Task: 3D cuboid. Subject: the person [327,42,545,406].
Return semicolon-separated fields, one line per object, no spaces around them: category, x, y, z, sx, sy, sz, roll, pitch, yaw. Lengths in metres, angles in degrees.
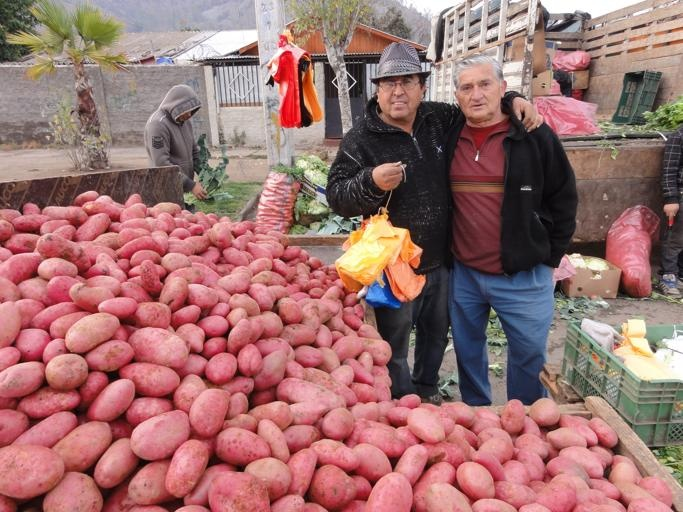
person;0.668;-0.074;3.499;1.418;2.799;0.983;-13;15;-18

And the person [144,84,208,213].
person;-2.095;-1.517;5.996;0.703;1.805;0.710;3;14;-12

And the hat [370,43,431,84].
hat;0.389;-1.282;3.140;0.387;0.251;0.284;0;20;4

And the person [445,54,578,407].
person;1.063;-0.181;3.734;1.083;2.750;0.937;-2;19;0

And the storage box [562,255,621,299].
storage box;3.154;0.290;5.973;0.593;0.360;0.594;-2;11;3
